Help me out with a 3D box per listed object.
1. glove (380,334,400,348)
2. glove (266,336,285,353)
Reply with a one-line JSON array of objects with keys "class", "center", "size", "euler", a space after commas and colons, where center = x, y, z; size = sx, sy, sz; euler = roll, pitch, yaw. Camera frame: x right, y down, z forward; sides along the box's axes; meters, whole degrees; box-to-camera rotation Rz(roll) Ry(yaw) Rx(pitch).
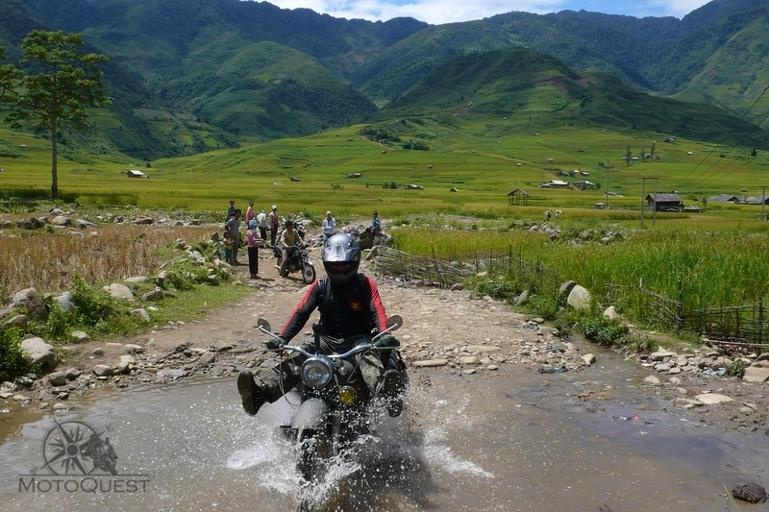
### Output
[{"class": "glove", "center": [0.077, 1.618, 11.011], "size": [0.388, 0.218, 0.487], "euler": [2, 6, 0]}, {"class": "glove", "center": [-2.137, 1.708, 11.257], "size": [0.262, 0.161, 0.333], "euler": [-8, 21, -21]}]
